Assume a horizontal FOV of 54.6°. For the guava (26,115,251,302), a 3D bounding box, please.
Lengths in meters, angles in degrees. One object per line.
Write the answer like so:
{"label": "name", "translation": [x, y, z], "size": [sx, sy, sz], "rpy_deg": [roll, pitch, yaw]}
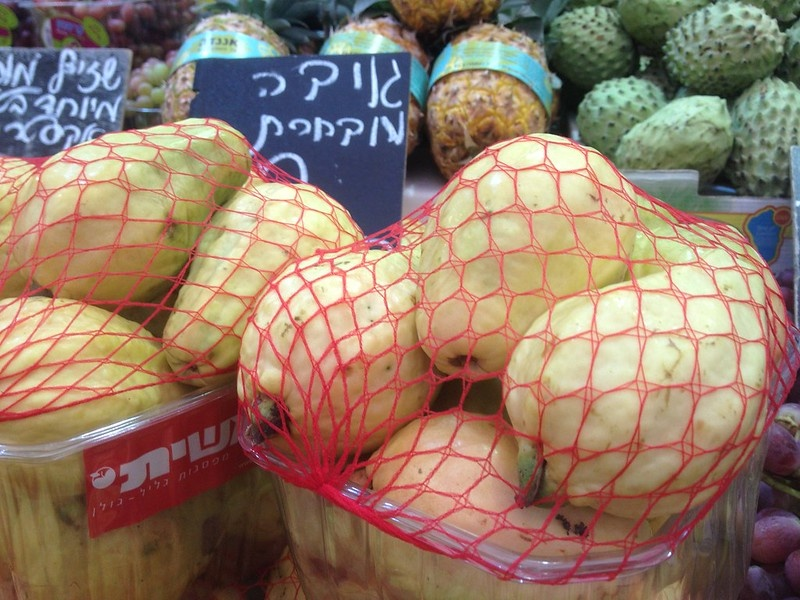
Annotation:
{"label": "guava", "translation": [-0.381, -0.125, 1.200], "size": [0.328, 0.190, 0.191], "rpy_deg": [-31, 49, -32]}

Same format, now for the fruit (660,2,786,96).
{"label": "fruit", "translation": [0.755, -0.584, 1.851], "size": [0.223, 0.172, 0.198], "rpy_deg": [2, 54, 7]}

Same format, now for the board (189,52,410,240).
{"label": "board", "translation": [-0.161, -0.267, 1.358], "size": [0.360, 0.390, 0.040], "rpy_deg": [1, 1, 13]}

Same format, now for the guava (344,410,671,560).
{"label": "guava", "translation": [0.109, 0.230, 0.942], "size": [0.316, 0.165, 0.109], "rpy_deg": [19, 55, -5]}

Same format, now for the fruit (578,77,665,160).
{"label": "fruit", "translation": [0.516, -0.434, 1.893], "size": [0.189, 0.188, 0.212], "rpy_deg": [-2, 80, 5]}

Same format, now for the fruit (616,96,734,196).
{"label": "fruit", "translation": [0.596, -0.338, 1.729], "size": [0.209, 0.179, 0.272], "rpy_deg": [25, 43, 36]}

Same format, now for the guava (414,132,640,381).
{"label": "guava", "translation": [0.156, -0.053, 1.096], "size": [0.236, 0.241, 0.322], "rpy_deg": [35, 86, 21]}

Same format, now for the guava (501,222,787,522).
{"label": "guava", "translation": [0.332, 0.108, 0.995], "size": [0.366, 0.210, 0.239], "rpy_deg": [-37, 40, -28]}

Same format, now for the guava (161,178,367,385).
{"label": "guava", "translation": [-0.220, -0.043, 1.201], "size": [0.338, 0.173, 0.210], "rpy_deg": [-48, 21, -15]}
